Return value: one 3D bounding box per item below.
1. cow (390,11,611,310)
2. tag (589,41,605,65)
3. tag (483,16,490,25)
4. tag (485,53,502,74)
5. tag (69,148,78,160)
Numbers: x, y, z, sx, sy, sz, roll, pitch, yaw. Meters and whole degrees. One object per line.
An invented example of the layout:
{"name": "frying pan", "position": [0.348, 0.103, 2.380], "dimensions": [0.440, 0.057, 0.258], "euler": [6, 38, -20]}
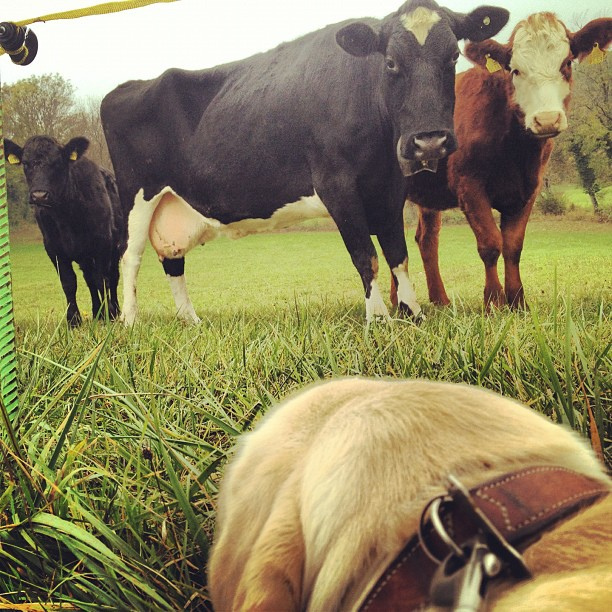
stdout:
{"name": "cow", "position": [0.796, -0.585, 2.653], "dimensions": [0.843, 1.110, 0.394], "euler": [1, 13, 29]}
{"name": "tag", "position": [1.057, -0.926, 2.334], "dimensions": [0.016, 0.078, 0.047], "euler": [-5, 3, -41]}
{"name": "tag", "position": [0.703, -1.116, 2.494], "dimensions": [0.025, 0.032, 0.011], "euler": [1, 13, 29]}
{"name": "tag", "position": [0.762, -0.988, 2.605], "dimensions": [0.016, 0.072, 0.048], "euler": [-34, 9, -32]}
{"name": "tag", "position": [-1.309, -0.852, 3.590], "dimensions": [0.034, 0.061, 0.063], "euler": [3, -10, -8]}
